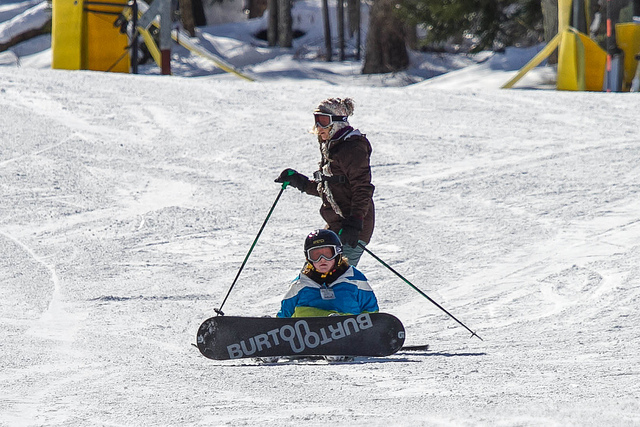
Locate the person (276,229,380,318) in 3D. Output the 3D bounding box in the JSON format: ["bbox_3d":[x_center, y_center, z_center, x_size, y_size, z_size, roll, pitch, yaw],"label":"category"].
[{"bbox_3d":[0.078,0.896,18.354,1.697,1.206,0.901,-5,-4,16],"label":"person"}]

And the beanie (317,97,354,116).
[{"bbox_3d":[0.246,-1.486,18.176,0.404,0.170,0.269,0,16,-20],"label":"beanie"}]

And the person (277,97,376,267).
[{"bbox_3d":[0.324,-0.439,18.239,0.700,2.270,1.105,-10,17,-36],"label":"person"}]
